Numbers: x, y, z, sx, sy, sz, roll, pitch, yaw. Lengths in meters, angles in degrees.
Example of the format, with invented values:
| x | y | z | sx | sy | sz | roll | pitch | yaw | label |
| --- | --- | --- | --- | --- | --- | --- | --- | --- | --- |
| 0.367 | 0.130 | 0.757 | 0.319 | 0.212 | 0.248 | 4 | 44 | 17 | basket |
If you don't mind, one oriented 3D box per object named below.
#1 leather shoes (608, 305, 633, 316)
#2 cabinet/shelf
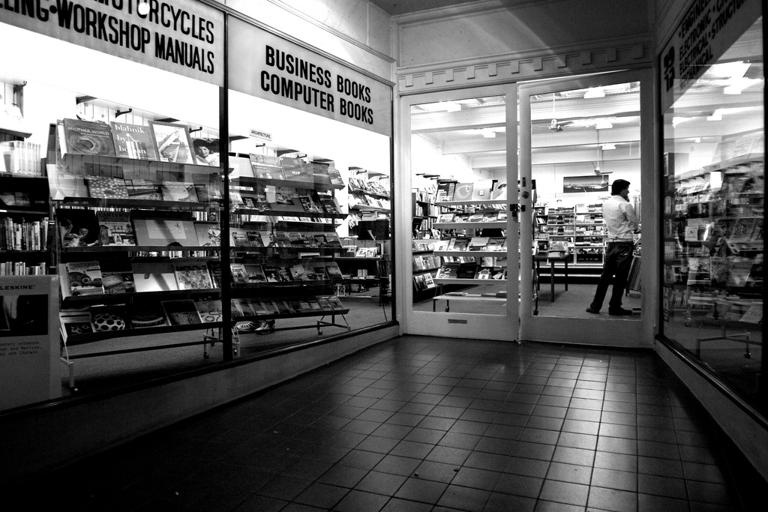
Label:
| x | y | z | sx | sy | sz | roll | pitch | yaw | label |
| --- | --- | --- | --- | --- | --- | --- | --- | --- | --- |
| 2.775 | 0.643 | 6.558 | 0.345 | 0.131 | 0.111 | -1 | 3 | -7 | leather shoes |
| -0.078 | -0.171 | 5.296 | 3.411 | 1.953 | 3.398 | -4 | -2 | 32 | cabinet/shelf |
